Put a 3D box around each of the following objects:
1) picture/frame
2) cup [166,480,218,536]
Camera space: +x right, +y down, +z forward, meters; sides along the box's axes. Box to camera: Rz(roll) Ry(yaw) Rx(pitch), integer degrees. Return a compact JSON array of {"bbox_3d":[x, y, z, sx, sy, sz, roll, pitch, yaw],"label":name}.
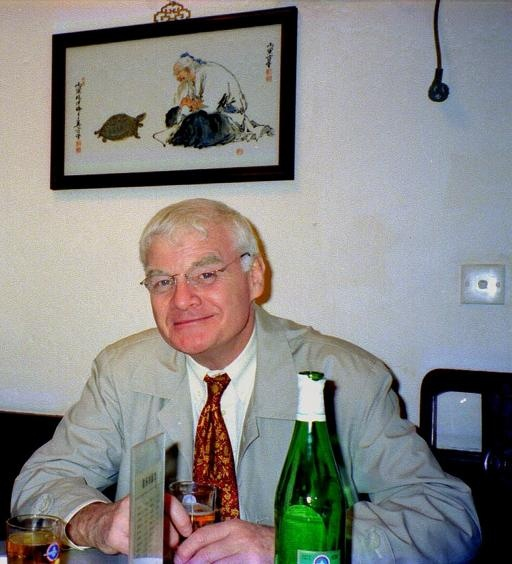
[{"bbox_3d":[-0.227,-0.526,1.727,0.859,0.480,0.044,4,6,15],"label":"picture/frame"},{"bbox_3d":[-0.103,0.371,0.968,0.076,0.068,0.060,1,-2,-11],"label":"cup"}]
